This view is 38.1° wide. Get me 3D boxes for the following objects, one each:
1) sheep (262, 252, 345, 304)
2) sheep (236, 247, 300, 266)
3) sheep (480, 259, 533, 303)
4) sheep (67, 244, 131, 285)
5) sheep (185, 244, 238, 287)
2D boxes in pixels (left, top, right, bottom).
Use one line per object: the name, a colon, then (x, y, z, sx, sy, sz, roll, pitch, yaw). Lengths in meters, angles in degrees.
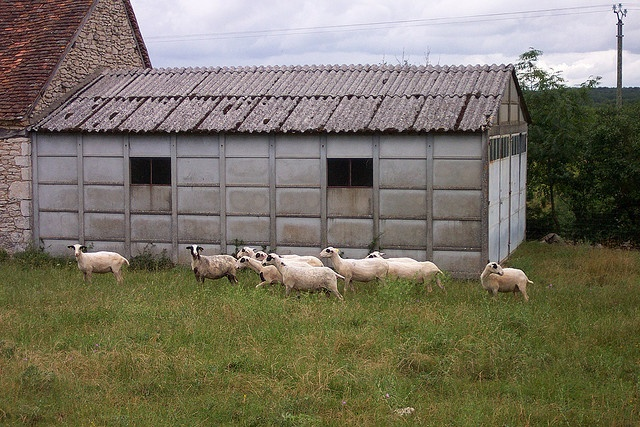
sheep: (-0.477, 1.985, 29.371, 2.309, 1.505, 1.114, -4, 0, 1)
sheep: (-1.843, 1.377, 30.620, 1.794, 0.795, 0.788, 3, 0, 13)
sheep: (5.828, 2.144, 29.174, 1.807, 1.105, 0.559, 6, 2, -17)
sheep: (-7.475, 1.752, 31.110, 2.038, 1.345, 0.615, 3, -3, -33)
sheep: (-3.559, 1.685, 30.858, 1.544, 1.332, 0.816, -4, 0, -9)
